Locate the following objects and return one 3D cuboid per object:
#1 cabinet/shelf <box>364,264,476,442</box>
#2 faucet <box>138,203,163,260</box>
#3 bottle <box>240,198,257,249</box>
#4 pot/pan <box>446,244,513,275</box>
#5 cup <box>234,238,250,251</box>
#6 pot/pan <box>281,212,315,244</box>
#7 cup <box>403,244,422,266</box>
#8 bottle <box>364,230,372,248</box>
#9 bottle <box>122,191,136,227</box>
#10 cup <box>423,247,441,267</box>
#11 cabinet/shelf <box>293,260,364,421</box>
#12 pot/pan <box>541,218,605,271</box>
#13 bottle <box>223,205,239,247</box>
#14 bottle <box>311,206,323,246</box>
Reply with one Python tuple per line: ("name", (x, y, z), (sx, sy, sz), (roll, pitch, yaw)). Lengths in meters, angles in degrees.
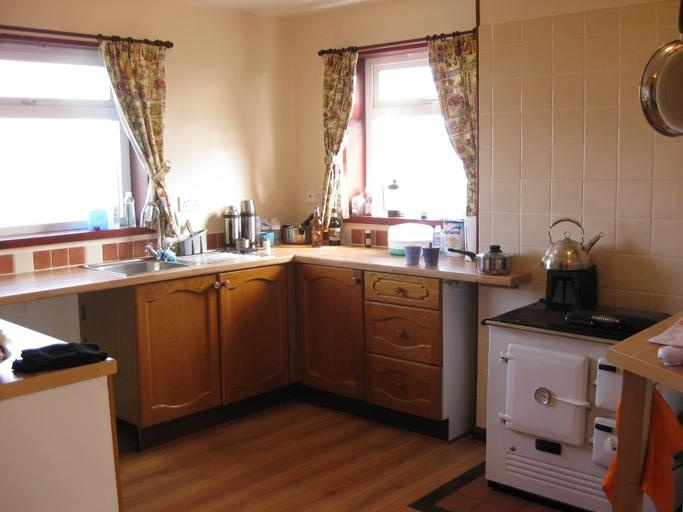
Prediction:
("cabinet/shelf", (0.530, 0.634, 3.645), (0.624, 1.126, 0.634), (2, -1, 26))
("faucet", (-1.348, -0.184, 3.796), (0.146, 0.403, 0.379), (-4, 10, -21))
("bottle", (-0.736, -0.259, 4.240), (0.129, 0.355, 0.208), (-2, 9, -9))
("pot/pan", (0.837, 0.016, 3.190), (0.256, 0.119, 0.143), (4, 6, 36))
("cup", (-0.764, -0.093, 4.106), (0.093, 0.099, 0.097), (1, 9, 0))
("pot/pan", (-0.365, -0.233, 4.471), (0.320, 0.245, 0.195), (1, 9, 9))
("cup", (0.461, -0.015, 3.458), (0.108, 0.134, 0.117), (2, 11, 0))
("bottle", (0.218, -0.141, 4.290), (0.065, 0.129, 0.050), (0, 9, 4))
("bottle", (-1.552, -0.345, 3.913), (0.083, 0.248, 0.156), (-5, 10, -22))
("cup", (0.558, 0.002, 3.361), (0.096, 0.122, 0.123), (0, 10, 7))
("cabinet/shelf", (-0.169, 0.659, 4.029), (0.575, 0.986, 0.634), (10, -28, -24))
("pot/pan", (1.241, -0.071, 2.938), (0.320, 0.293, 0.263), (-1, 5, 17))
("bottle", (-0.847, -0.222, 4.156), (0.128, 0.320, 0.151), (-3, 9, -11))
("bottle", (-0.206, -0.245, 4.380), (0.104, 0.307, 0.226), (-1, 9, -3))
